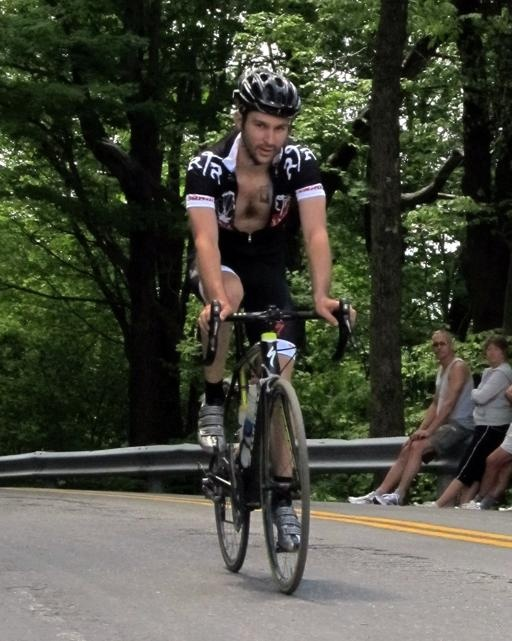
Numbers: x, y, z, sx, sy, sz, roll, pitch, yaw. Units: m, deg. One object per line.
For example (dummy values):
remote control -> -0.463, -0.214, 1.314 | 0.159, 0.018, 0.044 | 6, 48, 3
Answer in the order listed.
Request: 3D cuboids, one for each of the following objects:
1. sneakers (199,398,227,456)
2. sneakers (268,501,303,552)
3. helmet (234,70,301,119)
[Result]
sneakers -> -0.204, 0.492, 4.463 | 0.088, 0.261, 0.105 | -2, -40, -6
sneakers -> 0.116, 0.797, 3.689 | 0.086, 0.158, 0.239 | 2, 1, -8
helmet -> 0.021, -0.946, 3.889 | 0.181, 0.095, 0.254 | 0, 34, -21
